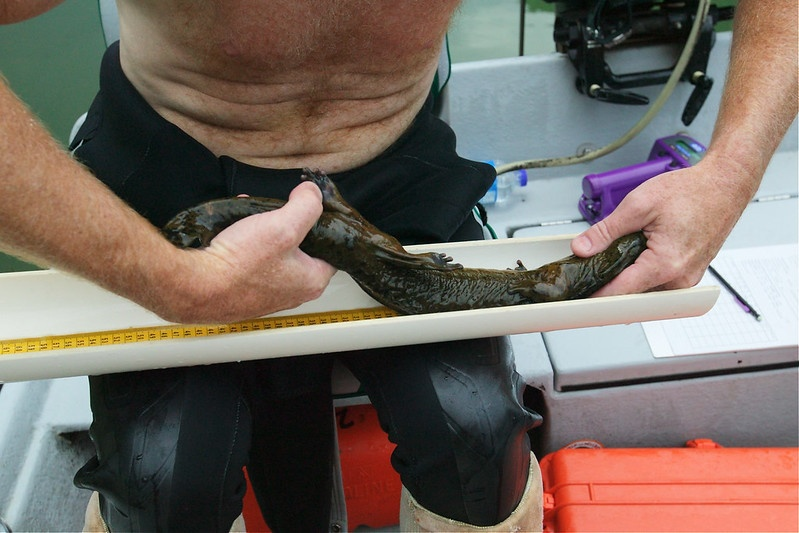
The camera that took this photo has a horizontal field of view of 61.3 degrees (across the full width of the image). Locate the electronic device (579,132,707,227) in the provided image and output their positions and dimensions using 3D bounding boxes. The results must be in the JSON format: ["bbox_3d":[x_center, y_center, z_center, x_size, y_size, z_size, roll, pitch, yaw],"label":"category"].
[{"bbox_3d":[1.149,-0.372,3.023,0.663,0.236,0.336,-24,45,-13],"label":"electronic device"}]

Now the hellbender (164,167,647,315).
[{"bbox_3d":[0.014,0.033,1.981,1.262,0.202,0.489,5,26,-7],"label":"hellbender"}]
